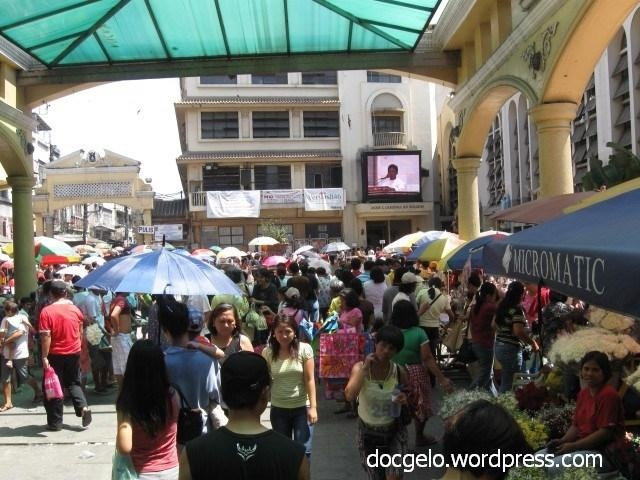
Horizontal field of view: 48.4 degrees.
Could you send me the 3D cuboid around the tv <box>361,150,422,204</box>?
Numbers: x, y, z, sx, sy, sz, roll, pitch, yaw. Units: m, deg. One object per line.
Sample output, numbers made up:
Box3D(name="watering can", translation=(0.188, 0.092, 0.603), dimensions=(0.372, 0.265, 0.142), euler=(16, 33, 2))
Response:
Box3D(name="tv", translation=(3.543, -3.277, 36.334), dimensions=(2.565, 2.357, 0.931), euler=(0, 1, -7))
